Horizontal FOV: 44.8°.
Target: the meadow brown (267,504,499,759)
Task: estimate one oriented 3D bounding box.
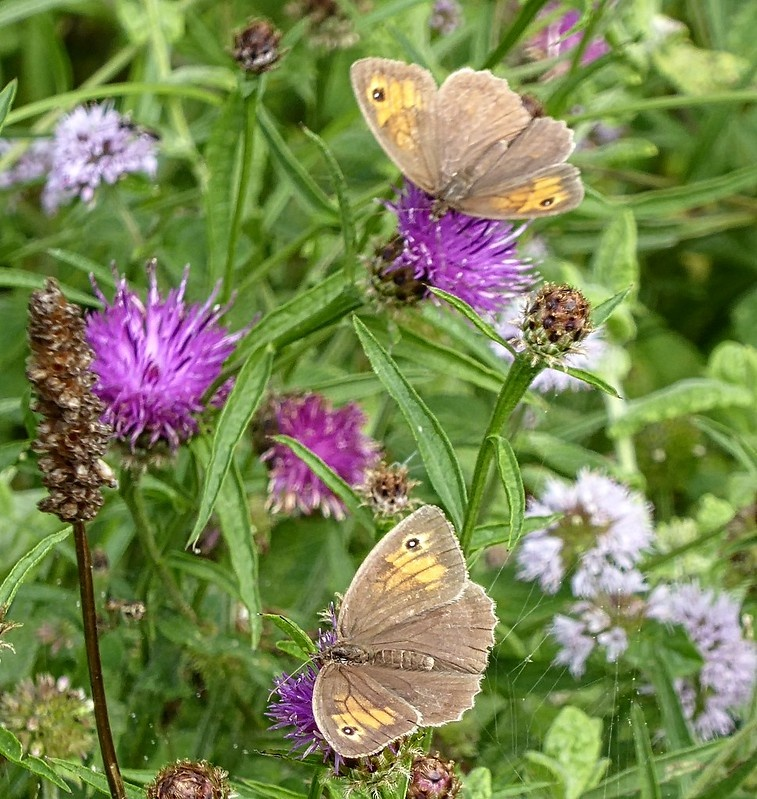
[{"bbox_3d":[0.023,0.230,0.848,0.159,0.103,0.216,42,68,12],"label":"meadow brown"}]

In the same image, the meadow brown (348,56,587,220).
[{"bbox_3d":[0.101,-0.281,1.025,0.238,0.109,0.207,-13,69,-13],"label":"meadow brown"}]
